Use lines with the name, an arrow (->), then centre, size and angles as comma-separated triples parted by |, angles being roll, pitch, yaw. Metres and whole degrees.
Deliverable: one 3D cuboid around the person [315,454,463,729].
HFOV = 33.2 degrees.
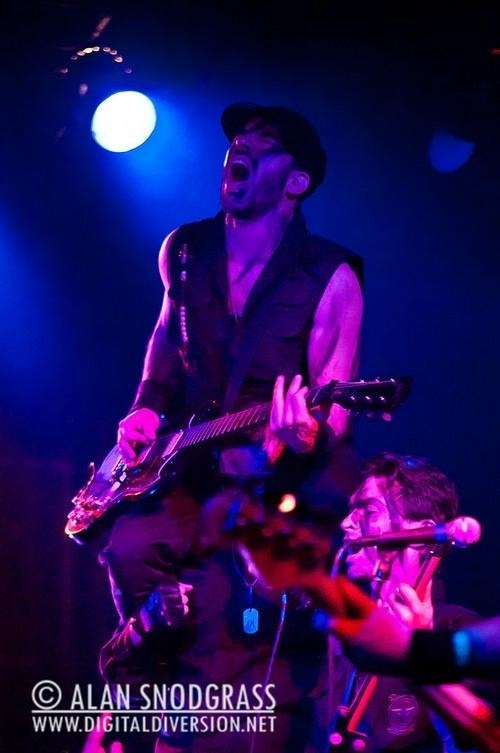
person -> 0.453, 0.602, 2.679 | 0.121, 0.910, 0.427 | 18, -18, -21
